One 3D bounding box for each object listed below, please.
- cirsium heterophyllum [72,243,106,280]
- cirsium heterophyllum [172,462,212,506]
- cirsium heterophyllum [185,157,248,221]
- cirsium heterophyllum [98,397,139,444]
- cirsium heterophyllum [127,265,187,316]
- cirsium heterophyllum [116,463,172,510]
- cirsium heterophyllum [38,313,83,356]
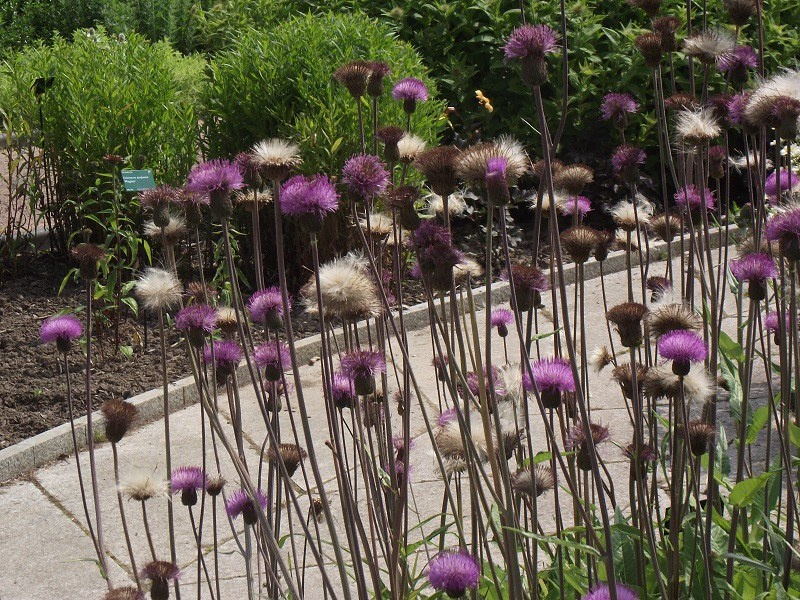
[{"bbox_3d":[-1.651,-0.196,9.495,0.189,0.192,0.182,-2,0,-18],"label":"cirsium heterophyllum"},{"bbox_3d":[-1.084,0.983,9.330,0.200,0.214,0.217,-7,8,-7],"label":"cirsium heterophyllum"},{"bbox_3d":[-0.929,-0.555,9.153,0.292,0.292,0.305,-7,8,-6],"label":"cirsium heterophyllum"},{"bbox_3d":[-1.440,0.635,9.335,0.213,0.229,0.210,11,-4,-8],"label":"cirsium heterophyllum"},{"bbox_3d":[-1.250,-0.031,9.369,0.226,0.225,0.375,-7,7,-6],"label":"cirsium heterophyllum"},{"bbox_3d":[-1.306,0.975,9.288,0.296,0.181,0.285,-5,7,7],"label":"cirsium heterophyllum"},{"bbox_3d":[-1.788,0.221,9.636,0.240,0.240,0.235,-7,14,-20],"label":"cirsium heterophyllum"}]
